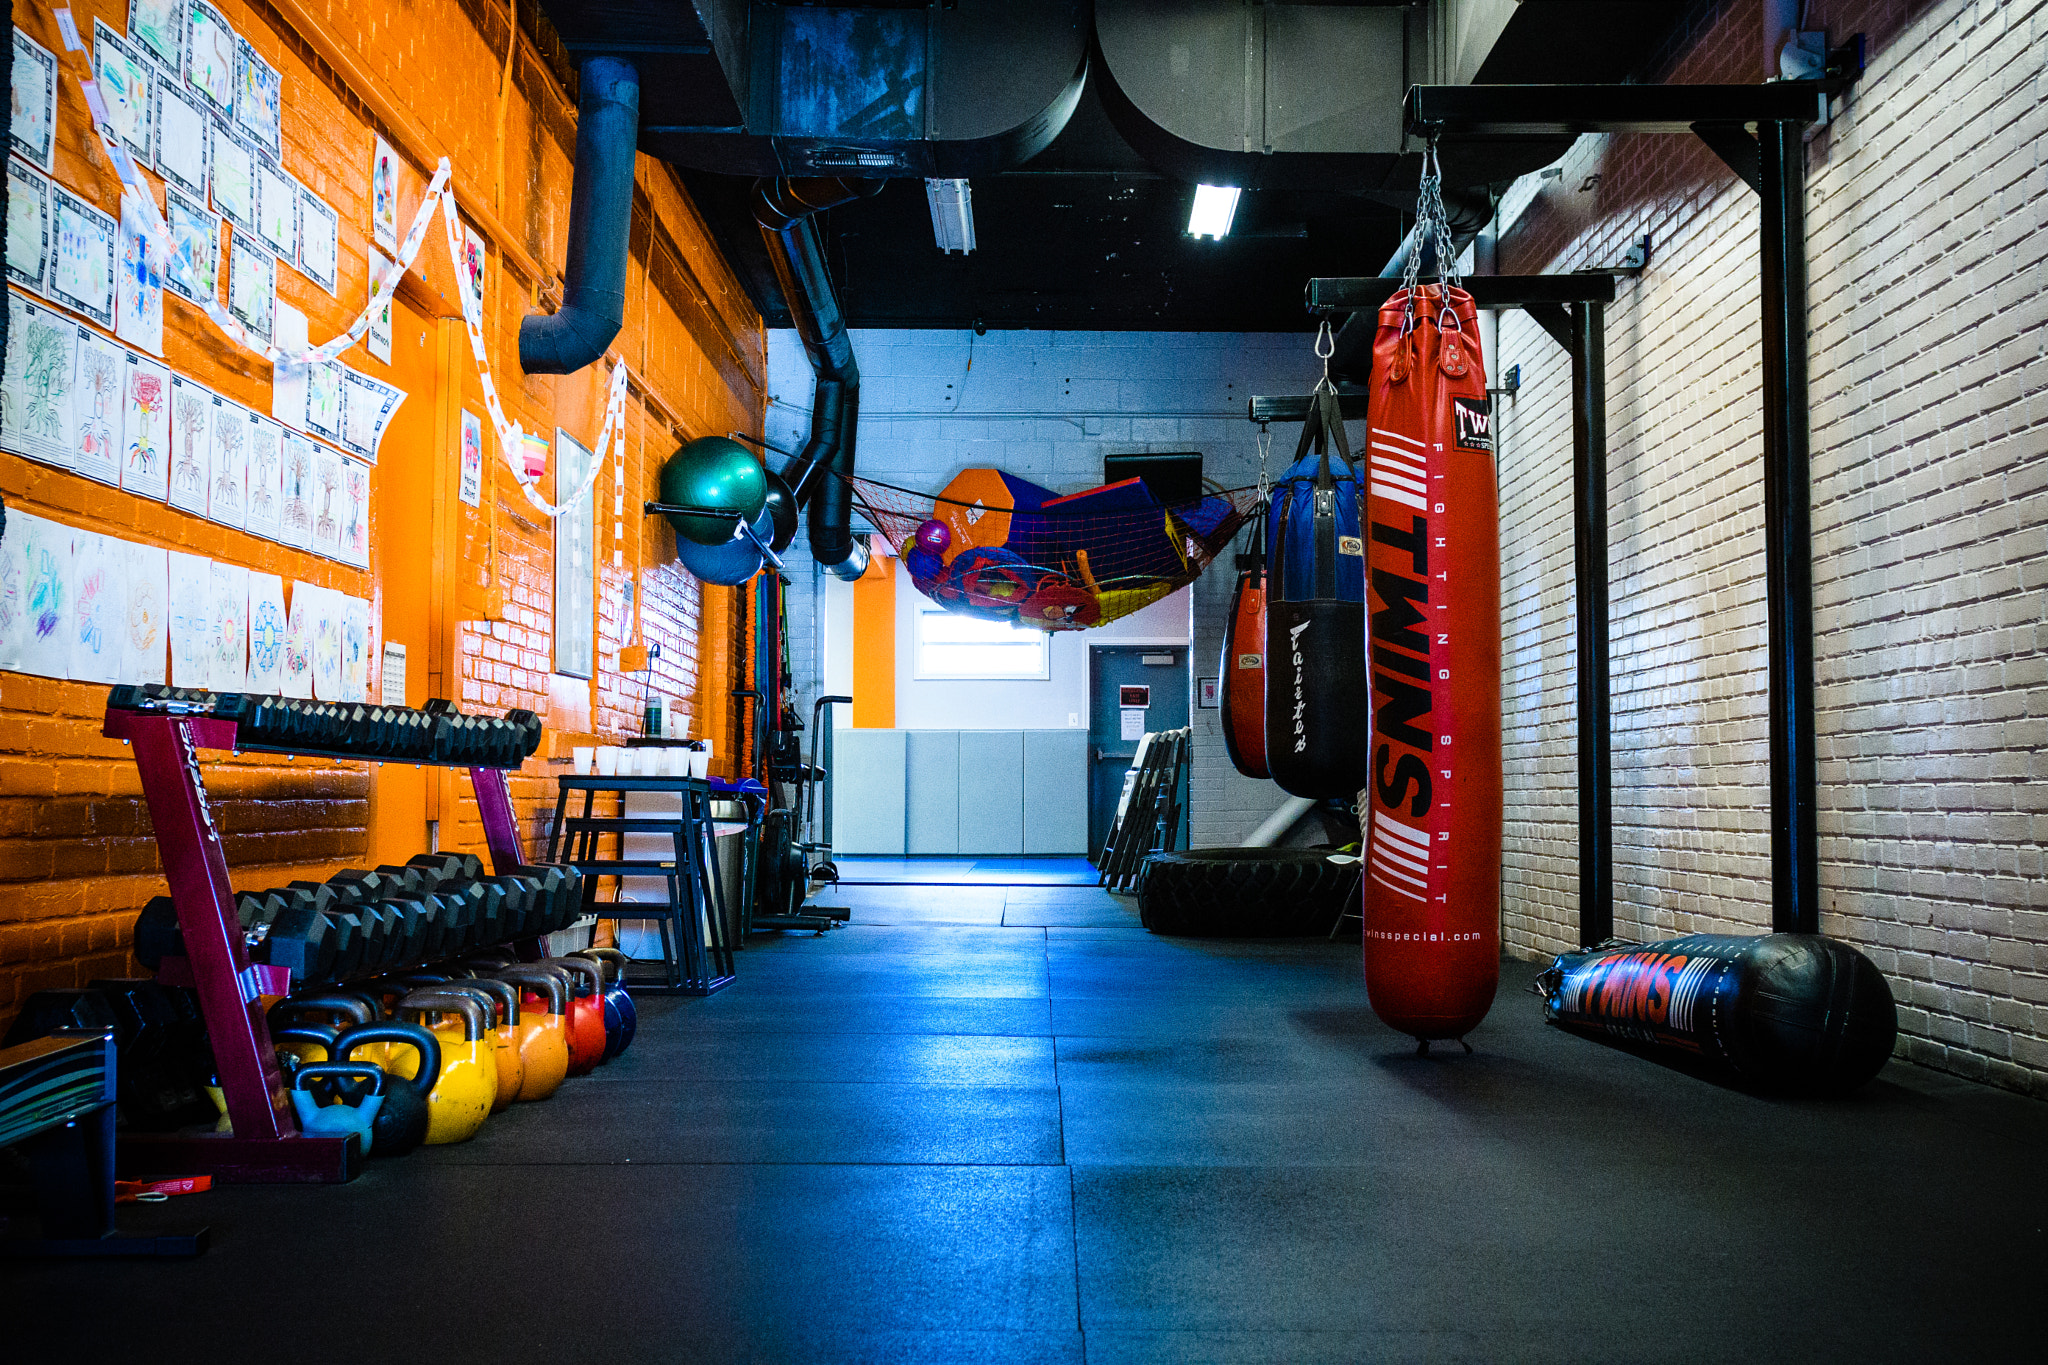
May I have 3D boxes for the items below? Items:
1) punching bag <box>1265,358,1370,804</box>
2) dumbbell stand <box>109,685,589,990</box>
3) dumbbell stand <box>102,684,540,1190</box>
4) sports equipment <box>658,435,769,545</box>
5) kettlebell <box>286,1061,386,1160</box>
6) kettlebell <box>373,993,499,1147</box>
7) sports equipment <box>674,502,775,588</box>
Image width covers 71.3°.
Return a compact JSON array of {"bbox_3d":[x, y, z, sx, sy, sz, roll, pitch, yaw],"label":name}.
[{"bbox_3d":[1.299,-0.429,6.433,0.426,1.911,1.282,0,1,12],"label":"punching bag"},{"bbox_3d":[-1.850,0.467,4.184,0.995,0.868,0.993,-1,1,-5],"label":"dumbbell stand"},{"bbox_3d":[-2.025,0.686,4.599,0.605,1.286,1.923,-3,-1,4],"label":"dumbbell stand"},{"bbox_3d":[-1.838,-1.133,8.482,0.627,0.739,0.618,-10,7,-18],"label":"sports equipment"},{"bbox_3d":[-1.822,1.117,3.872,0.300,0.339,0.216,2,-9,-12],"label":"kettlebell"},{"bbox_3d":[-1.640,1.082,4.129,0.301,0.387,0.268,5,3,23],"label":"kettlebell"},{"bbox_3d":[-1.803,-0.815,8.685,0.475,0.321,0.489,-2,-3,12],"label":"sports equipment"}]
